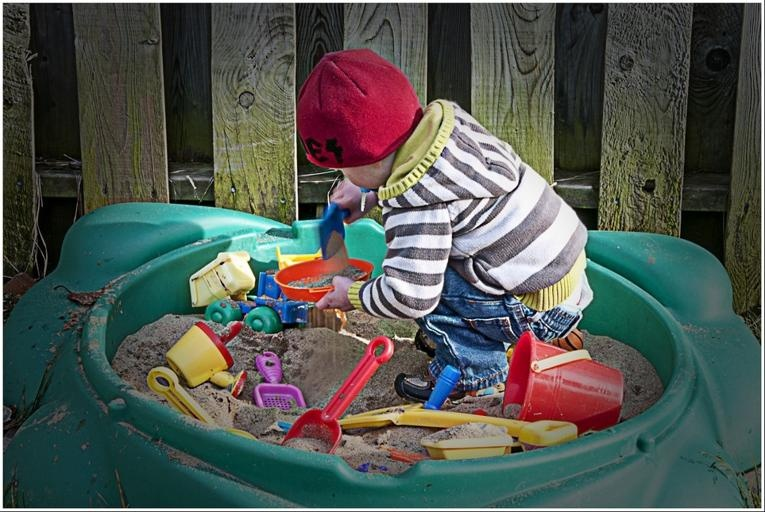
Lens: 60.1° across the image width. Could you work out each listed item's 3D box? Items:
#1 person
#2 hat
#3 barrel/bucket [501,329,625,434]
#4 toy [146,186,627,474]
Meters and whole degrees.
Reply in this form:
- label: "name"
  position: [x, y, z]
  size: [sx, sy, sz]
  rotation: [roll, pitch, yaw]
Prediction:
- label: "person"
  position: [0.234, -0.118, 2.386]
  size: [0.984, 1.159, 0.916]
  rotation: [7, 30, 16]
- label: "hat"
  position: [-0.053, -0.465, 2.142]
  size: [0.399, 0.254, 0.311]
  rotation: [-16, 20, 42]
- label: "barrel/bucket"
  position: [0.574, 0.363, 2.154]
  size: [0.315, 0.343, 0.326]
  rotation: [6, -7, 1]
- label: "toy"
  position: [0.002, 0.297, 2.077]
  size: [1.126, 0.288, 0.941]
  rotation: [2, 37, 5]
